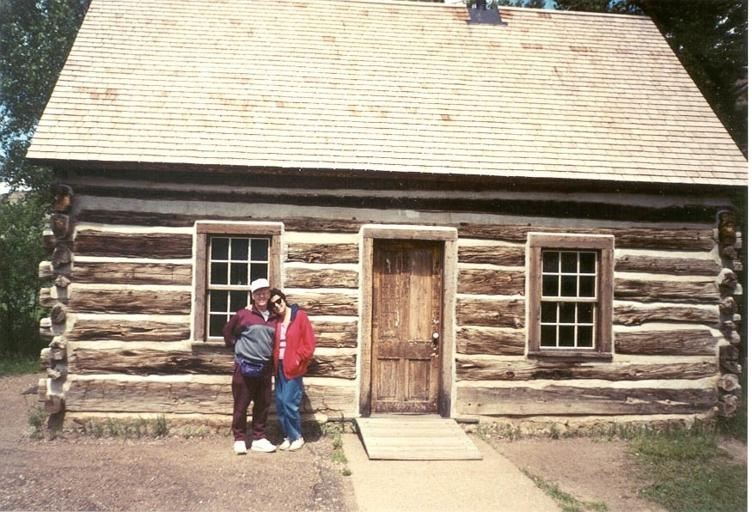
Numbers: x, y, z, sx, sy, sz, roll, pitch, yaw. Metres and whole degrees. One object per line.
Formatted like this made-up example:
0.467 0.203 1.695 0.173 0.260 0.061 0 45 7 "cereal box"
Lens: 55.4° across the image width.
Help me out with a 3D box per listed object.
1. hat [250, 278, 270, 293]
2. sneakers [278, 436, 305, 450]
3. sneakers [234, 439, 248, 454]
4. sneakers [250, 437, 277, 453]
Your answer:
-2.040 0.528 12.735 0.286 0.134 0.390 -3 -3 -13 "hat"
-1.494 3.317 12.671 0.373 0.132 0.210 6 -13 -22 "sneakers"
-2.377 3.339 12.605 0.231 0.249 0.282 0 -3 -11 "sneakers"
-1.979 3.337 12.699 0.498 0.194 0.193 2 -5 5 "sneakers"
